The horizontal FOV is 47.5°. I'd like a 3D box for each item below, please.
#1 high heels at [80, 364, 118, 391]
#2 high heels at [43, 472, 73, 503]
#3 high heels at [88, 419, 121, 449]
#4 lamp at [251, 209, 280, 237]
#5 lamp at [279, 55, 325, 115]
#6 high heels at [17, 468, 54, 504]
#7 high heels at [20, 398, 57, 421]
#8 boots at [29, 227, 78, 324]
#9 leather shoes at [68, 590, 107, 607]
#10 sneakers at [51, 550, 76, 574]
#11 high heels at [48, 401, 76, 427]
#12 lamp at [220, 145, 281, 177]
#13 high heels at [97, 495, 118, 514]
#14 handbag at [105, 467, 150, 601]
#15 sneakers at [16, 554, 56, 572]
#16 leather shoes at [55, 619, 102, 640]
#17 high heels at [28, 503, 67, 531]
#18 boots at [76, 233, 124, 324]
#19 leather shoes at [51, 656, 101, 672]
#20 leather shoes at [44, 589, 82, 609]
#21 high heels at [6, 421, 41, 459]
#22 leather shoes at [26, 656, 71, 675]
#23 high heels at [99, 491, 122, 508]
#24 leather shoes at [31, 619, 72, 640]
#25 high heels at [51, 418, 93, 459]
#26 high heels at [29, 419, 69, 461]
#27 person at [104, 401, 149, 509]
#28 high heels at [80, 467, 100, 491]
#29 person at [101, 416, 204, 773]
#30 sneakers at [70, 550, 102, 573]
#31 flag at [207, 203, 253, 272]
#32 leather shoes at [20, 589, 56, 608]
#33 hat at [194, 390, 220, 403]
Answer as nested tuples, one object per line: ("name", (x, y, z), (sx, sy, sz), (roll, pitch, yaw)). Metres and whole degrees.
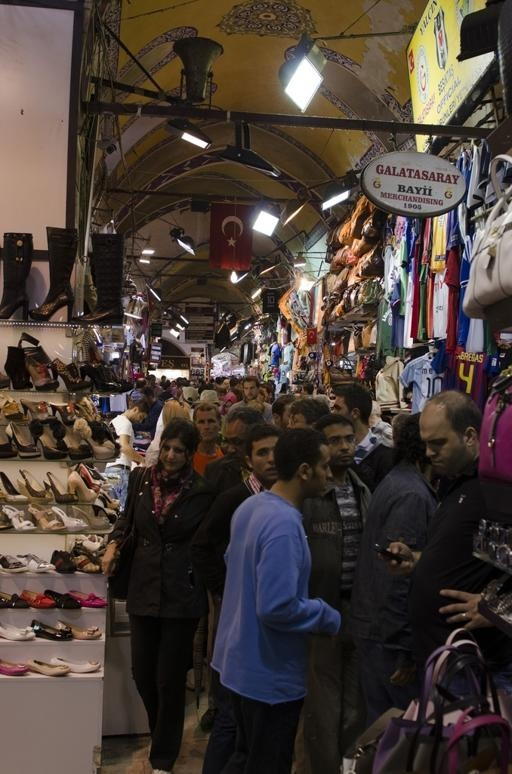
("high heels", (-1.032, -0.048, 3.800), (0.168, 0.085, 0.222), (20, 29, -23))
("high heels", (-1.169, 0.602, 3.479), (0.129, 0.188, 0.274), (4, 0, -28))
("high heels", (-0.938, 0.278, 3.558), (0.090, 0.097, 0.251), (-2, -9, 1))
("lamp", (0.183, -3.009, 10.679), (0.425, 0.420, 0.548), (4, 0, -6))
("lamp", (0.584, -3.334, 6.438), (0.105, 0.435, 0.432), (-25, -16, -36))
("high heels", (-1.329, 0.575, 3.491), (0.356, 0.158, 0.120), (12, 5, 40))
("high heels", (-1.319, 0.140, 3.513), (0.211, 0.123, 0.177), (4, 0, -16))
("boots", (-1.299, -0.719, 3.748), (0.243, 0.630, 0.219), (4, -1, -19))
("leather shoes", (-0.882, 1.111, 3.058), (0.183, 0.052, 0.078), (2, -5, 23))
("sneakers", (-1.054, 0.950, 3.157), (0.072, 0.079, 0.196), (5, -9, -29))
("high heels", (-1.177, 0.173, 3.534), (0.089, 0.099, 0.242), (2, 2, -40))
("lamp", (-0.083, -3.059, 7.845), (0.780, 0.405, 0.430), (4, 0, -11))
("high heels", (-0.887, 0.693, 3.494), (0.059, 0.066, 0.167), (18, -11, 19))
("handbag", (-0.649, 0.738, 2.966), (0.184, 0.711, 0.178), (8, -1, 3))
("sneakers", (-1.204, 0.931, 3.174), (0.225, 0.077, 0.086), (8, -13, 29))
("leather shoes", (-0.884, 1.228, 2.939), (0.167, 0.068, 0.098), (11, -17, 6))
("high heels", (-1.198, 0.743, 3.313), (0.248, 0.102, 0.113), (8, 2, 34))
("boots", (-1.032, -0.714, 3.781), (0.315, 0.594, 0.231), (-1, 16, -19))
("leather shoes", (-0.857, 1.304, 2.812), (0.235, 0.089, 0.087), (0, -11, 6))
("leather shoes", (-1.008, 1.072, 3.013), (0.201, 0.057, 0.081), (1, -6, 35))
("high heels", (-1.388, 0.287, 3.502), (0.121, 0.145, 0.326), (-13, 42, -43))
("leather shoes", (-0.995, 1.312, 2.758), (0.184, 0.055, 0.079), (-4, -14, 21))
("high heels", (-0.904, 0.683, 3.569), (0.071, 0.081, 0.200), (11, -10, 13))
("leather shoes", (-1.014, 1.200, 2.916), (0.183, 0.074, 0.090), (5, -16, 9))
("high heels", (-1.103, 0.311, 3.488), (0.117, 0.098, 0.371), (-2, 21, -35))
("high heels", (-1.235, 0.283, 3.489), (0.129, 0.171, 0.376), (-2, 23, -44))
("person", (-1.070, 0.539, 4.807), (0.307, 0.965, 0.306), (5, -32, -13))
("high heels", (-1.025, 0.557, 3.581), (0.064, 0.194, 0.067), (-24, 10, -1))
("person", (-0.496, 1.039, 2.886), (0.541, 1.752, 0.339), (4, -1, 23))
("sneakers", (-0.927, 0.939, 3.154), (0.076, 0.054, 0.203), (6, -8, -34))
("flag", (-0.590, -3.481, 13.439), (0.994, 1.538, 0.429), (4, -1, -8))
("leather shoes", (-1.131, 1.086, 2.999), (0.175, 0.055, 0.082), (3, -3, 27))
("hat", (-0.674, 0.121, 8.115), (0.358, 0.141, 0.360), (1, 0, -1))
